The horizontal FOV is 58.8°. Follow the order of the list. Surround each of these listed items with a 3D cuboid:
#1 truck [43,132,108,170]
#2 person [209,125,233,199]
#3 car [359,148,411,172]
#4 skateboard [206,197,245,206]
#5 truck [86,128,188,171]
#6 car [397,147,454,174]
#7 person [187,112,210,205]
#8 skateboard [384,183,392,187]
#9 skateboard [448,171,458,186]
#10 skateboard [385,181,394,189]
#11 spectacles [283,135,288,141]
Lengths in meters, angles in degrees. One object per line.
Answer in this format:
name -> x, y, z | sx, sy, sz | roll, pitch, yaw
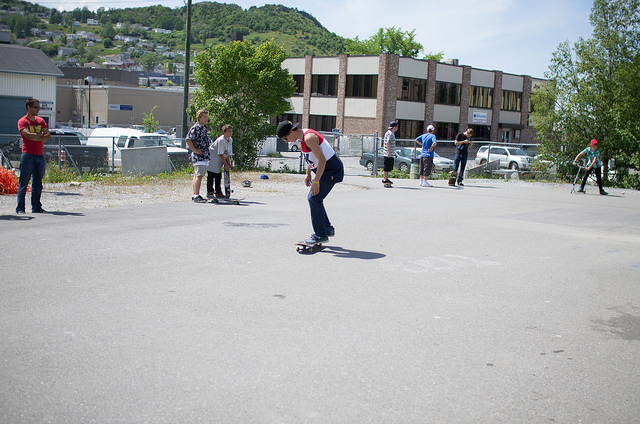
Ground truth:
truck -> -8.644, -2.018, 20.042 | 2.317, 1.092, 1.334 | 14, 15, 39
person -> -2.692, -1.282, 14.885 | 0.603, 1.928, 0.702 | 5, 14, 14
car -> 3.348, -2.773, 30.595 | 2.858, 0.967, 1.242 | 3, 6, 33
skateboard -> -2.380, -0.313, 14.967 | 0.946, 0.154, 0.286 | 6, 9, 25
truck -> -8.161, -2.938, 23.915 | 3.944, 1.621, 2.242 | 3, 7, 29
car -> 6.286, -2.557, 31.132 | 3.740, 1.327, 1.610 | 12, 14, 40
person -> -3.147, -1.380, 14.531 | 0.528, 2.305, 0.354 | -1, 14, -14
skateboard -> 2.342, -0.926, 19.652 | 0.265, 0.161, 0.258 | 4, 14, 7
skateboard -> 4.876, -1.213, 20.898 | 0.222, 0.632, 0.283 | 10, 13, 4
skateboard -> 2.380, -0.930, 19.714 | 0.403, 0.135, 0.279 | 6, 0, -35
spectacles -> -0.599, -1.238, 9.499 | 0.094, 0.095, 0.072 | 4, 13, 28
